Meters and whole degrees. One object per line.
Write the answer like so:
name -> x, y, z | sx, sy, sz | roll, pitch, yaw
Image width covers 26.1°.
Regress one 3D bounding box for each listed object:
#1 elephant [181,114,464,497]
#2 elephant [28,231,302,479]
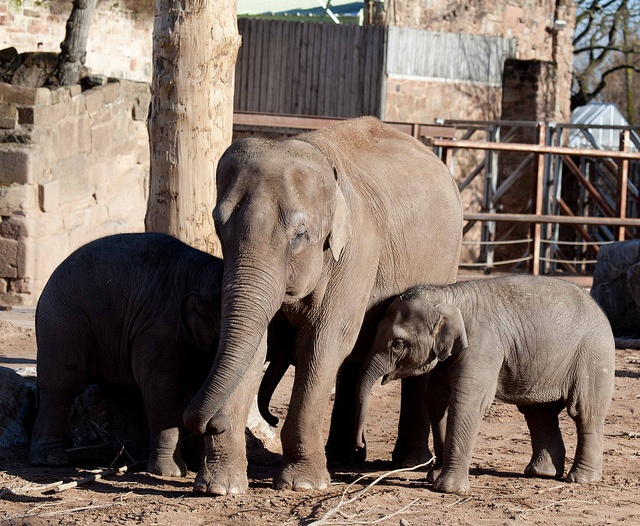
elephant -> -0.006, 0.324, 11.699 | 1.424, 3.067, 3.435 | 6, 5, 30
elephant -> -1.394, 0.661, 11.751 | 2.039, 1.893, 0.931 | 1, 19, -4
